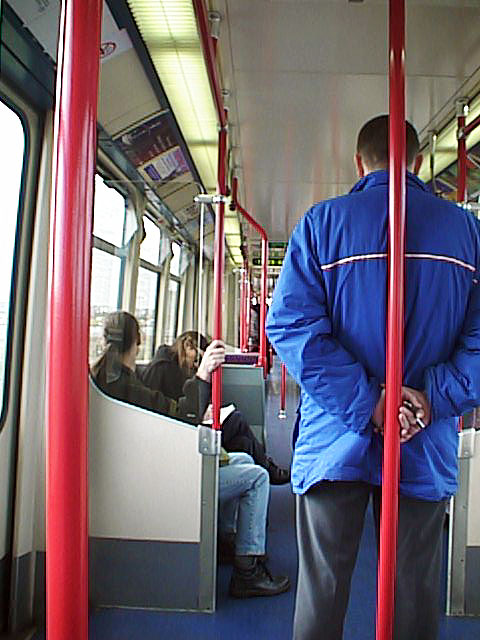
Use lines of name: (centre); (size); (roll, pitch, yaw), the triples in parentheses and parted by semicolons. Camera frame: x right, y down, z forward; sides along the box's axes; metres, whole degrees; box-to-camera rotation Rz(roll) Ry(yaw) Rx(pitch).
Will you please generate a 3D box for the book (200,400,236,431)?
book: (-0.141, 0.595, 3.205); (0.133, 0.257, 0.220); (4, -9, -1)
